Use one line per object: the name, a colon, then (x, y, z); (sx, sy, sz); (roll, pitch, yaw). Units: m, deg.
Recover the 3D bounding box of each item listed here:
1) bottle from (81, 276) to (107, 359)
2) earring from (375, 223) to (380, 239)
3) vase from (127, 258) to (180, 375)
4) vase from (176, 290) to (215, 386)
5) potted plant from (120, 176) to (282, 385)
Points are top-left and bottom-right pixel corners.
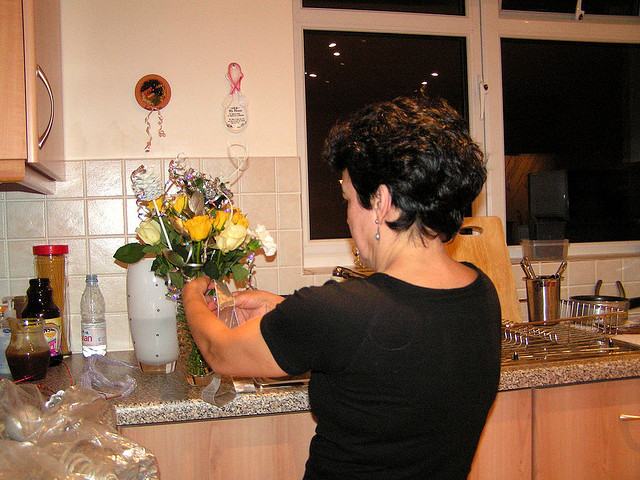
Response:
bottle: (-0.862, 0.288, 2.000); (0.089, 0.334, 0.193); (-4, 1, -23)
earring: (0.144, -0.020, 1.317); (0.013, 0.027, 0.026); (6, 10, 0)
vase: (-0.570, 0.263, 1.816); (0.161, 0.415, 0.146); (-4, 1, -23)
vase: (-0.423, 0.319, 1.704); (0.163, 0.312, 0.087); (-3, 1, 43)
potted plant: (-0.426, 0.009, 1.957); (0.620, 0.767, 0.607); (11, 15, 40)
